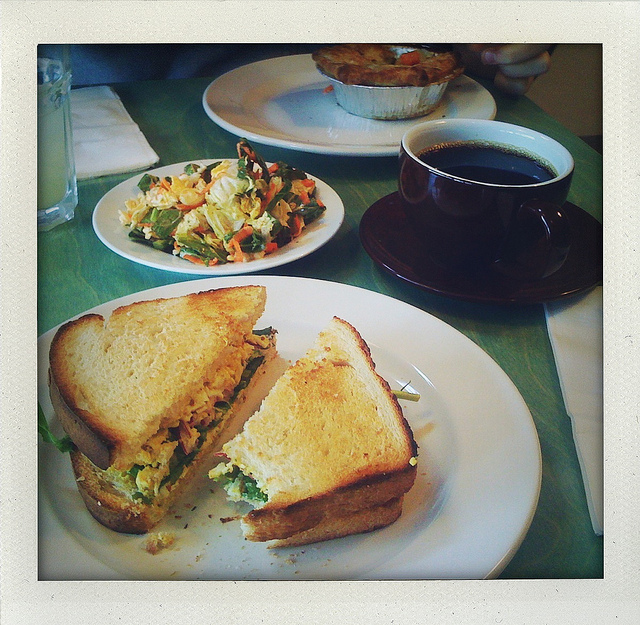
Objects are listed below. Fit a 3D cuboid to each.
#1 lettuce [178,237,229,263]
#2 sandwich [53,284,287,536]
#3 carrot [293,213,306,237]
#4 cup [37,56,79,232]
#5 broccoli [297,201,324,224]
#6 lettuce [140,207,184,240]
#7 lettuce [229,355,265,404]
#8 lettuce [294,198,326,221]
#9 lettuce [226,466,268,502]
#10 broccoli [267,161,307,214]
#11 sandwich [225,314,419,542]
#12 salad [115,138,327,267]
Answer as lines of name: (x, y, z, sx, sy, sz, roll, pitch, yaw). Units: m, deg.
lettuce: (-0.169, -0.093, 0.871, 0.070, 0.030, 0.023, 9, 46, 8)
sandwich: (-0.252, 0.099, 0.865, 0.315, 0.153, 0.503, 2, 22, 7)
carrot: (-0.031, -0.131, 0.903, 0.023, 0.011, 0.030, -3, 75, -2)
cup: (-0.383, -0.239, 0.865, 0.072, 0.206, 0.051, 31, 40, 0)
broccoli: (-0.014, -0.154, 0.922, 0.038, 0.014, 0.027, 33, 62, 12)
lettuce: (-0.235, -0.136, 0.878, 0.050, 0.017, 0.053, 33, 69, 5)
lettuce: (-0.114, 0.096, 0.856, 0.015, 0.055, 0.058, 26, 22, 6)
lettuce: (-0.015, -0.160, 0.905, 0.039, 0.027, 0.013, -20, 5, -23)
lettuce: (-0.089, 0.207, 0.717, 0.038, 0.019, 0.039, 28, 8, 20)
broccoli: (-0.055, -0.216, 0.970, 0.035, 0.067, 0.163, 22, 13, -12)
sandwich: (-0.007, 0.155, 0.763, 0.227, 0.098, 0.277, -12, 47, -12)
salad: (-0.200, -0.236, 1.022, 0.417, 0.181, 0.277, -17, 28, -25)
